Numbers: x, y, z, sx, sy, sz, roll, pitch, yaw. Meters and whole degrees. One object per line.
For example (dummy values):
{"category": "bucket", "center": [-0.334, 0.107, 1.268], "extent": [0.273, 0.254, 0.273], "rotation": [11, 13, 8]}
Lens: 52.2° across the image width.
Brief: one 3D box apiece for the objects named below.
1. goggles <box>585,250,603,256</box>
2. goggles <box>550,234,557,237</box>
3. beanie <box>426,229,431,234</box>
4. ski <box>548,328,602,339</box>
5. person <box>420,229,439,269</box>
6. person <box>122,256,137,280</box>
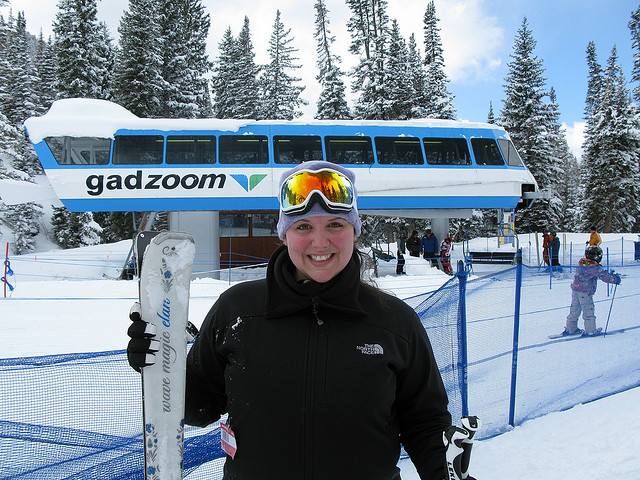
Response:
{"category": "goggles", "center": [7.025, 0.320, 16.729], "extent": [0.401, 0.108, 0.122], "rotation": [2, 6, 44]}
{"category": "goggles", "center": [8.599, -0.166, 24.080], "extent": [0.118, 0.127, 0.125], "rotation": [0, 4, -9]}
{"category": "beanie", "center": [4.085, -0.317, 24.493], "extent": [0.165, 0.163, 0.323], "rotation": [-1, 4, 8]}
{"category": "ski", "center": [6.044, 2.243, 15.618], "extent": [1.279, 0.152, 0.101], "rotation": [-8, -2, -16]}
{"category": "person", "center": [4.138, 0.388, 24.656], "extent": [0.627, 1.799, 0.458], "rotation": [4, 22, 20]}
{"category": "person", "center": [-6.864, 1.022, 23.489], "extent": [0.432, 0.767, 0.970], "rotation": [-4, 4, -25]}
